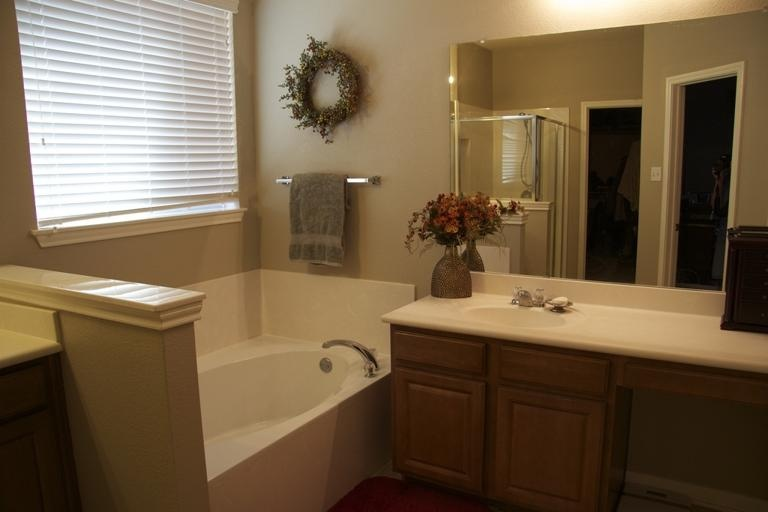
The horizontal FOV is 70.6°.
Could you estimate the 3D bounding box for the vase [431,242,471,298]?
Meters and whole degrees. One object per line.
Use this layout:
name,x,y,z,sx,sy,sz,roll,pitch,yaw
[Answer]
vase,0.415,0.082,3.328,0.261,0.312,0.279,3,8,26

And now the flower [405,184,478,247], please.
flower,0.344,-0.239,3.254,0.369,0.276,0.326,0,17,15
